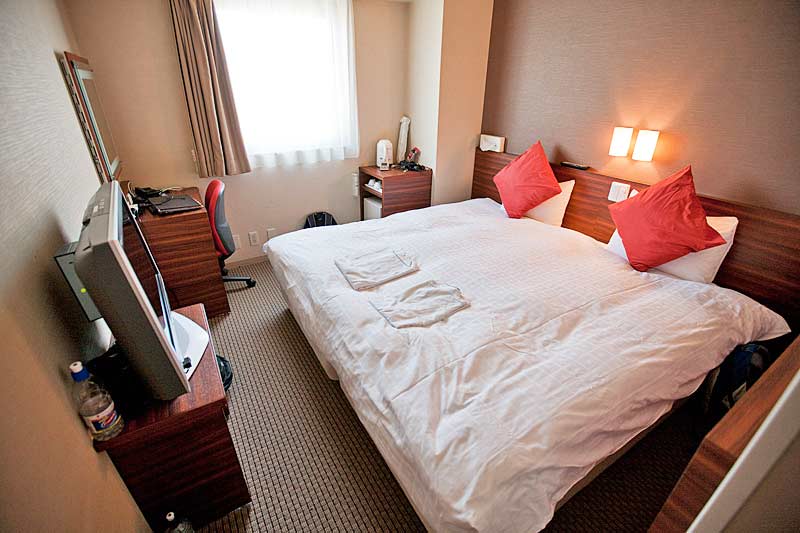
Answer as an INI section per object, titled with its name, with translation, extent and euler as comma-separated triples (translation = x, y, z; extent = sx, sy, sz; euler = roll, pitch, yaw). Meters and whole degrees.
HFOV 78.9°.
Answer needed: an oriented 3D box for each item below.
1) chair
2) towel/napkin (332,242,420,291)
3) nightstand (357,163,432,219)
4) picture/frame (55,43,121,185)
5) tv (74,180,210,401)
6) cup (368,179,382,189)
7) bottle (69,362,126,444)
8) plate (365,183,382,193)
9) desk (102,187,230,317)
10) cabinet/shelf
[chair]
translation = -1.539, -0.315, 4.360
extent = 0.593, 0.909, 0.639
euler = -2, 40, -24
[towel/napkin]
translation = -0.144, 0.018, 3.398
extent = 0.376, 0.093, 0.351
euler = -16, 29, -19
[nightstand]
translation = -0.045, -0.869, 5.120
extent = 0.609, 0.772, 0.776
euler = -9, 31, -17
[picture/frame]
translation = -2.176, -1.012, 3.402
extent = 0.186, 0.885, 0.689
euler = -14, 25, -28
[tv]
translation = -1.426, 0.137, 2.672
extent = 0.367, 0.938, 0.998
euler = -16, 40, -23
[cup]
translation = -0.256, -0.857, 4.970
extent = 0.112, 0.056, 0.153
euler = -7, 26, -19
[bottle]
translation = -1.432, 0.629, 2.276
extent = 0.136, 0.405, 0.138
euler = -2, 22, 1
[plate]
translation = -0.253, -0.791, 4.945
extent = 0.034, 0.086, 0.238
euler = 22, -2, -29
[desk]
translation = -1.542, -0.098, 3.219
extent = 0.341, 0.556, 0.869
euler = -10, 32, -19
[cabinet/shelf]
translation = -1.251, 0.982, 3.132
extent = 0.790, 1.240, 1.290
euler = -15, 45, -18
